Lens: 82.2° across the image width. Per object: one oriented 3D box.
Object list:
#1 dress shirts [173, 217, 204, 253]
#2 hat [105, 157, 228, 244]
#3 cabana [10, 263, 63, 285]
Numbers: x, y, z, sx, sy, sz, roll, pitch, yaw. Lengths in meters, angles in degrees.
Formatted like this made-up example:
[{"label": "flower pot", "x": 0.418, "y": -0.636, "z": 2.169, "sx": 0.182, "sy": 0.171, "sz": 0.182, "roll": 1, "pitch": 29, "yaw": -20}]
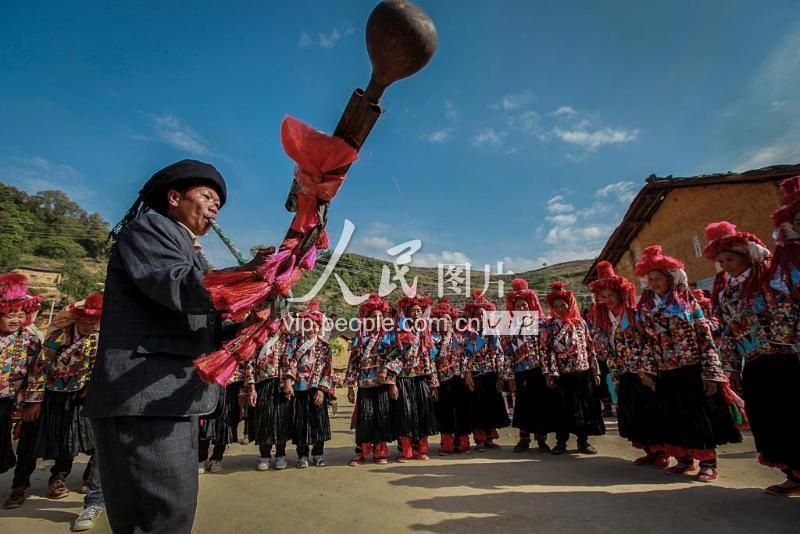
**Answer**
[{"label": "dress shirts", "x": -1.551, "y": -0.251, "z": 3.314, "sx": 0.161, "sy": 0.253, "sz": 0.191, "roll": -36, "pitch": -6, "yaw": -44}, {"label": "hat", "x": -1.589, "y": -0.438, "z": 3.238, "sx": 0.769, "sy": 0.239, "sz": 0.564, "roll": -19, "pitch": 17, "yaw": 1}, {"label": "cabana", "x": -31.757, "y": 0.578, "z": 40.058, "sx": 3.386, "sy": 1.657, "sz": 3.018, "roll": 1, "pitch": 1, "yaw": -6}]
